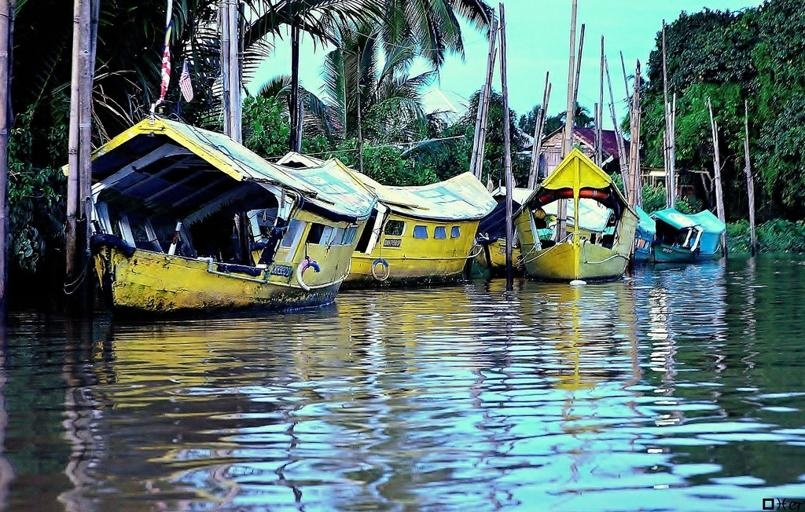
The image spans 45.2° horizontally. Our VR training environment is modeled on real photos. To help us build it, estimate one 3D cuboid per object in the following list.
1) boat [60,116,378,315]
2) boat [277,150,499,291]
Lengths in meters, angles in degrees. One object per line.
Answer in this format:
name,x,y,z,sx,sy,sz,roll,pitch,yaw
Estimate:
boat,-3.982,-0.765,22.197,4.187,4.170,6.967,-1,-3,24
boat,0.125,-0.898,32.218,3.908,2.774,7.548,10,6,37
